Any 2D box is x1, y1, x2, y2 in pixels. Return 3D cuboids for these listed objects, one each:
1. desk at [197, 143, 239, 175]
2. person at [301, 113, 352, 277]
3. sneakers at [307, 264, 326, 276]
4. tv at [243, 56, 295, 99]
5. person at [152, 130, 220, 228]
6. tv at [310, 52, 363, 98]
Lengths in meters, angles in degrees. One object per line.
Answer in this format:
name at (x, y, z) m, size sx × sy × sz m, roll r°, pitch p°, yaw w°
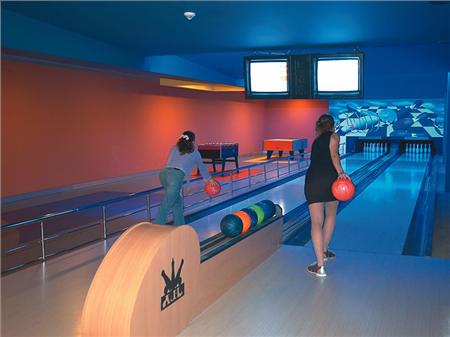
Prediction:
desk at (-0.257, -0.522, 9.532) m, size 0.946 × 1.080 × 1.361 m, roll -8°, pitch 11°, yaw -38°
person at (0.933, 0.229, 2.891) m, size 0.350 × 1.487 × 0.413 m, roll -1°, pitch 7°, yaw -8°
sneakers at (0.864, 0.936, 2.829) m, size 0.073 × 0.089 × 0.184 m, roll -1°, pitch 1°, yaw -12°
tv at (0.723, -1.568, 5.172) m, size 0.639 × 0.619 × 0.702 m, roll 0°, pitch 6°, yaw 15°
person at (-0.505, 0.129, 3.644) m, size 0.674 × 1.151 × 0.368 m, roll -2°, pitch 7°, yaw -15°
tv at (1.869, -1.465, 5.094) m, size 0.965 × 0.882 × 0.586 m, roll 2°, pitch 7°, yaw 25°
